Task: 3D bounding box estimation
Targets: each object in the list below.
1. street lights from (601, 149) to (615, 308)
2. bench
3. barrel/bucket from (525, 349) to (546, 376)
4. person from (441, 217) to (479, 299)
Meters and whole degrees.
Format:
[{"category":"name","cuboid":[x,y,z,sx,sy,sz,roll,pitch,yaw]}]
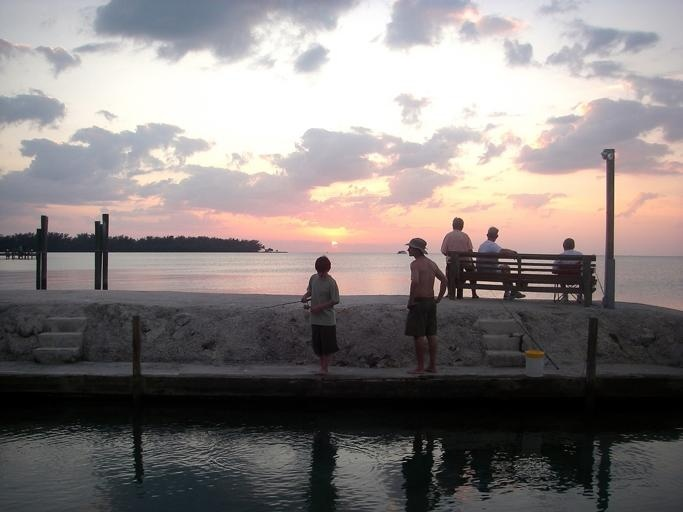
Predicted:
[{"category":"street lights","cuboid":[6.496,-0.663,18.577,0.249,3.868,0.486,0,-2,11]},{"category":"bench","cuboid":[4.796,0.496,20.281,3.687,1.174,1.183,2,10,22]},{"category":"barrel/bucket","cuboid":[3.962,2.202,15.684,0.540,0.487,0.463,1,1,-1]},{"category":"person","cuboid":[2.973,0.197,19.297,0.870,2.136,1.132,0,0,25]}]
